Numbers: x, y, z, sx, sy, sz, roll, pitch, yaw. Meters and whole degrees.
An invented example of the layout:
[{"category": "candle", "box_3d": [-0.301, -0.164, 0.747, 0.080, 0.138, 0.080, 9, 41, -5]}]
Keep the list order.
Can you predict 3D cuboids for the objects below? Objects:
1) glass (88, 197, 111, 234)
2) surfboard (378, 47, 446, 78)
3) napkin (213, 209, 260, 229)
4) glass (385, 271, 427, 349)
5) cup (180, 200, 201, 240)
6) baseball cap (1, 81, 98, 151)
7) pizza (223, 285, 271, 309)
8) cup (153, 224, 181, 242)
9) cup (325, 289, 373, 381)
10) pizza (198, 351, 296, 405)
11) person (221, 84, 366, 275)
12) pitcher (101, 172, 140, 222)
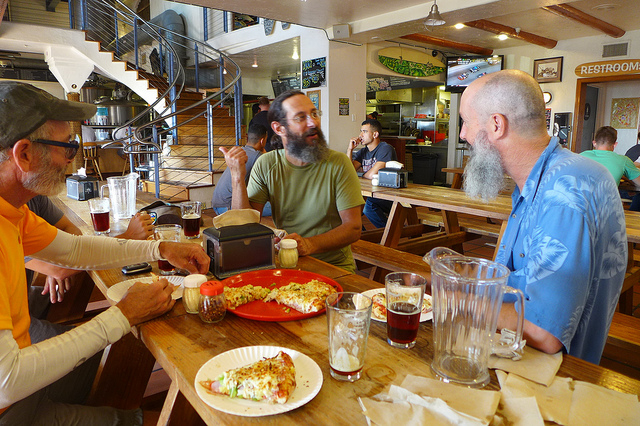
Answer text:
[{"category": "glass", "box_3d": [-1.297, 0.018, 2.401, 0.098, 0.218, 0.157, -9, 15, -28]}, {"category": "surfboard", "box_3d": [2.055, -3.300, 8.878, 1.868, 0.597, 0.164, -1, 14, -45]}, {"category": "napkin", "box_3d": [-0.433, 0.029, 2.133, 0.158, 0.049, 0.119, -7, 12, -25]}, {"category": "glass", "box_3d": [0.297, 0.332, 1.411, 0.130, 0.256, 0.102, 1, 13, 10]}, {"category": "cup", "box_3d": [-0.762, 0.040, 2.371, 0.161, 0.210, 0.162, 3, 12, -1]}, {"category": "baseball cap", "box_3d": [-1.085, -0.394, 1.626, 0.352, 0.253, 0.202, -11, 16, -37]}, {"category": "pizza", "box_3d": [-0.303, 0.331, 1.657, 0.086, 0.026, 0.134, 19, 16, 38]}, {"category": "cup", "box_3d": [-0.787, 0.098, 2.106, 0.096, 0.111, 0.111, 2, -1, 18]}, {"category": "cup", "box_3d": [0.093, 0.377, 1.337, 0.158, 0.245, 0.227, -1, 13, 2]}, {"category": "pizza", "box_3d": [-0.212, 0.508, 1.200, 0.284, 0.085, 0.139, -5, 13, -17]}, {"category": "person", "box_3d": [-0.085, -0.012, 2.723, 0.768, 1.491, 0.849, 7, 20, 39]}, {"category": "pitcher", "box_3d": [-1.390, -0.111, 2.824, 0.234, 0.291, 0.351, -8, 15, -28]}]
